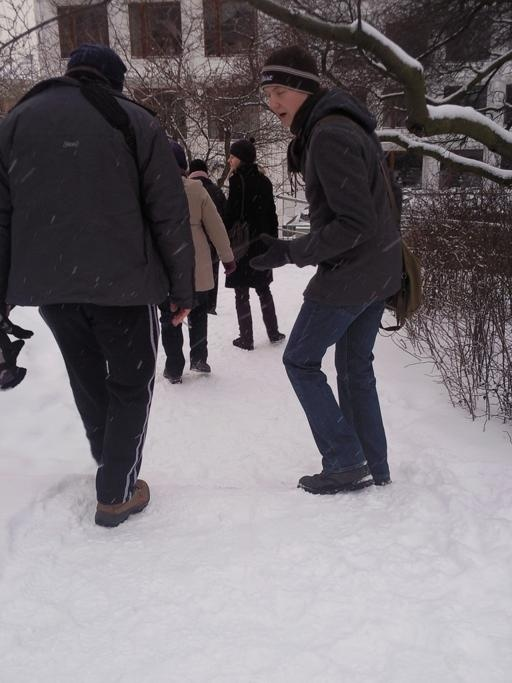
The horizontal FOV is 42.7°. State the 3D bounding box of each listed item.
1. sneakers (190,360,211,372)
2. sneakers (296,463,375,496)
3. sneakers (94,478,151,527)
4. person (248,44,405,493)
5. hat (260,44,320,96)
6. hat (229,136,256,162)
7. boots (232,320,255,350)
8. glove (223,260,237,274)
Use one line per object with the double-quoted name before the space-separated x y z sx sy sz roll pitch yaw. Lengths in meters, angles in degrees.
"sneakers" -0.446 0.206 5.382 0.079 0.068 0.167 6 -8 -39
"sneakers" 0.359 0.607 2.916 0.313 0.142 0.124 -1 0 8
"sneakers" -0.539 0.630 2.641 0.088 0.110 0.251 12 22 22
"person" 0.307 -0.267 2.762 0.627 1.890 0.522 2 9 7
"hat" 0.155 -1.133 2.763 0.245 0.181 0.181 2 19 -17
"hat" -0.073 -1.674 5.726 0.250 0.213 0.180 25 17 -4
"boots" -0.097 -0.060 6.069 0.130 0.284 0.294 -10 29 -20
"glove" -0.208 -0.580 5.130 0.105 0.100 0.062 -5 14 35
